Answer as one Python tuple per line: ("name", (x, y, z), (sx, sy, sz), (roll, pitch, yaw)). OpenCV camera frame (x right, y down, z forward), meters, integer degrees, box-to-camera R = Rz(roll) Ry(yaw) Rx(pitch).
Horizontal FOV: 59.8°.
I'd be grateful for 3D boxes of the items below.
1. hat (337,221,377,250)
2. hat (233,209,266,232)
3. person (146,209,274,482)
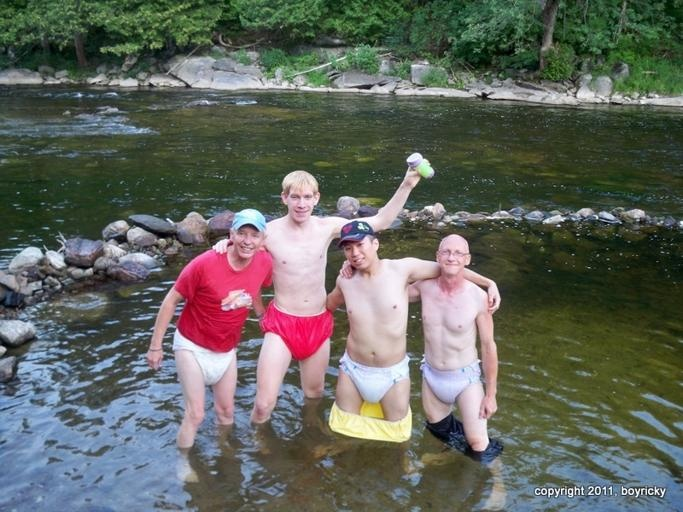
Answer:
("hat", (0.177, -0.209, 5.912), (0.237, 0.182, 0.324), (-10, -5, 25))
("hat", (-0.907, -0.341, 5.793), (0.314, 0.197, 0.353), (1, 15, 0))
("person", (-1.269, 0.779, 6.022), (1.208, 2.496, 0.571), (-11, 21, -35))
